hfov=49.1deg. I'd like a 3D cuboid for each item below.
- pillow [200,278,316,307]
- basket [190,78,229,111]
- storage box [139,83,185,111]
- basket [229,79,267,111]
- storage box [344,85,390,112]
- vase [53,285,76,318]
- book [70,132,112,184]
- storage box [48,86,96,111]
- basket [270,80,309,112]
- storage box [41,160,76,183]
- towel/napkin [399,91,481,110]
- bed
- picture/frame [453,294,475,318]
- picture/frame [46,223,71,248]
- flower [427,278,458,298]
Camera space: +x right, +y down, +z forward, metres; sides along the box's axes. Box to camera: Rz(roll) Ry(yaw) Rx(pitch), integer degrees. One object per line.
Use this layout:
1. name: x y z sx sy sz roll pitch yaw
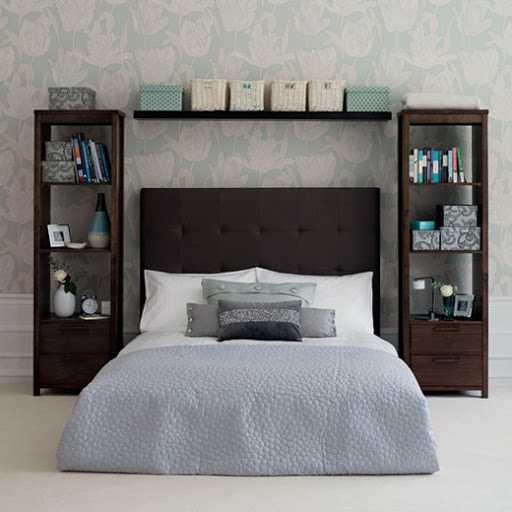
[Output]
1. pillow: 0.015 0.224 3.391 0.598 0.162 0.387 2 13 3
2. basket: -0.329 -1.104 3.917 0.198 0.176 0.214 0 2 -1
3. storage box: -0.665 -1.087 3.892 0.298 0.183 0.134 0 2 -11
4. basket: -0.066 -1.061 3.791 0.181 0.161 0.197 0 2 -2
5. storage box: 0.775 -1.080 3.820 0.221 0.133 0.175 0 1 0
6. vase: -1.358 0.296 3.934 0.146 0.258 0.157 -1 32 -27
7. book: -1.147 -0.650 3.831 0.236 0.373 0.112 1 0 -22
8. storage box: -1.295 -1.092 3.914 0.320 0.191 0.269 -1 2 -20
9. basket: 0.221 -1.094 3.824 0.264 0.245 0.177 0 5 -2
10. storage box: -1.365 -0.572 3.775 0.154 0.111 0.167 0 1 0
11. towel/napkin: 1.261 -1.033 3.760 0.497 0.107 0.059 0 2 -2
12. bed: -0.010 0.256 3.238 1.727 1.400 1.570 0 2 2
13. picture/frame: 1.424 0.348 3.832 0.109 0.171 0.046 -1 -10 33
14. picture/frame: -1.387 -0.137 3.884 0.010 0.155 0.151 -15 -2 28
15. flower: 1.315 0.227 3.922 0.124 0.089 0.179 -1 -1 11
